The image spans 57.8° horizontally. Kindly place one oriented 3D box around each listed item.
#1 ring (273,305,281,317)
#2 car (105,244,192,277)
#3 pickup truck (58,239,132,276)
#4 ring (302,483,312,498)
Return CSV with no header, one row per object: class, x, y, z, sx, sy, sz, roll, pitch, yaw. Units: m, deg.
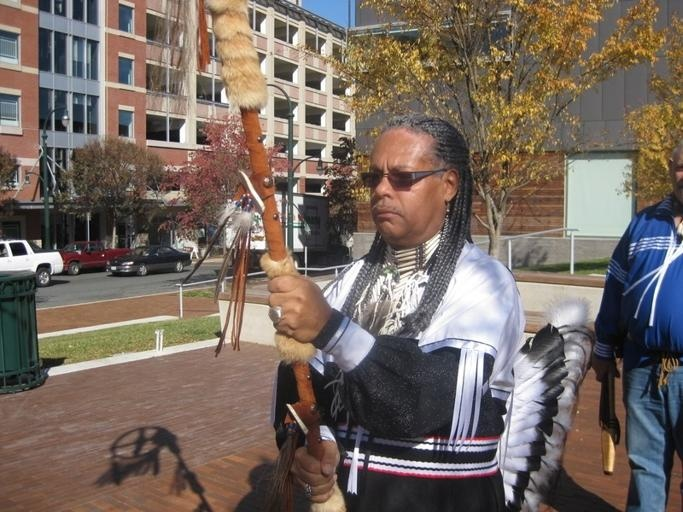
ring,-0.225,0.194,2.162,0.027,0.035,0.033,-2,-4,26
car,-9.123,0.181,29.740,1.428,1.310,4.086,1,3,32
pickup truck,-12.306,0.023,30.168,1.570,1.224,3.122,-2,-2,26
ring,-0.141,0.945,2.494,0.017,0.034,0.047,-11,-29,-29
